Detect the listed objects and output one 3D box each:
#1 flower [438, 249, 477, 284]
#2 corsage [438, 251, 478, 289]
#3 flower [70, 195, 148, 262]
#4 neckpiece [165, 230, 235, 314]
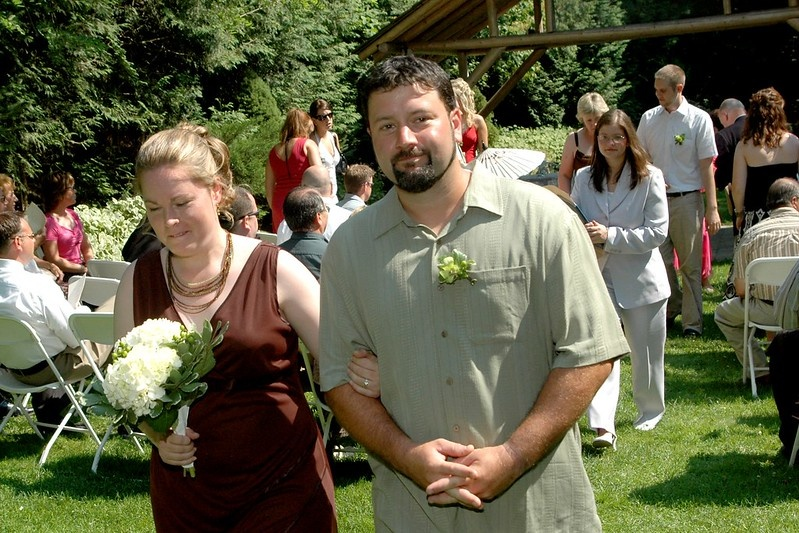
[{"bbox_3d":[0.335,0.006,5.302,0.222,0.203,0.087,-4,6,1],"label":"flower"},{"bbox_3d":[0.335,0.011,5.216,0.207,0.201,0.108,-20,2,5],"label":"corsage"},{"bbox_3d":[-4.711,-0.657,14.516,1.483,0.748,1.432,2,1,4],"label":"flower"},{"bbox_3d":[-1.289,0.046,5.798,0.553,0.704,0.056,0,-11,10],"label":"neckpiece"}]
